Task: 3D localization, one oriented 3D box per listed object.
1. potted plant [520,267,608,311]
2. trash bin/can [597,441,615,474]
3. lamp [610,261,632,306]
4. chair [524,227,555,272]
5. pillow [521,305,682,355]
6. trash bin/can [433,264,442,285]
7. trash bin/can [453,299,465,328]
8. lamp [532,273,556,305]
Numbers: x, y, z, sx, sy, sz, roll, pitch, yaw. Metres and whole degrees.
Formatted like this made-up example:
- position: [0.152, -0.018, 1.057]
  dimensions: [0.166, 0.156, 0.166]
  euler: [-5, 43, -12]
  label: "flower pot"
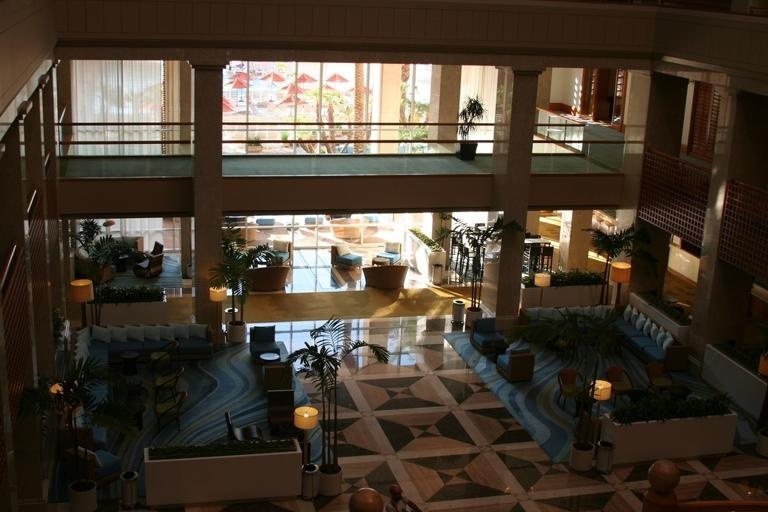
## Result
- position: [5.505, 1.054, 18.937]
  dimensions: [2.281, 1.449, 1.162]
  euler: [-1, 17, -6]
  label: "potted plant"
- position: [4.424, 4.031, 12.042]
  dimensions: [0.291, 0.563, 0.329]
  euler: [4, 11, 42]
  label: "trash bin/can"
- position: [7.156, 0.878, 18.152]
  dimensions: [0.589, 1.423, 1.123]
  euler: [0, 9, 21]
  label: "lamp"
- position: [5.392, -0.082, 21.513]
  dimensions: [1.139, 1.031, 1.742]
  euler: [-1, 9, -6]
  label: "chair"
- position: [6.922, 2.053, 16.794]
  dimensions: [2.495, 0.708, 2.138]
  euler: [-2, 21, -7]
  label: "pillow"
- position: [1.893, 0.661, 21.219]
  dimensions: [0.382, 0.720, 0.183]
  euler: [-6, 8, -19]
  label: "trash bin/can"
- position: [2.233, 1.741, 18.091]
  dimensions: [0.383, 0.707, 0.554]
  euler: [-2, 8, 7]
  label: "trash bin/can"
- position: [4.852, 0.990, 18.399]
  dimensions: [0.503, 0.914, 0.439]
  euler: [-2, 8, 12]
  label: "lamp"
